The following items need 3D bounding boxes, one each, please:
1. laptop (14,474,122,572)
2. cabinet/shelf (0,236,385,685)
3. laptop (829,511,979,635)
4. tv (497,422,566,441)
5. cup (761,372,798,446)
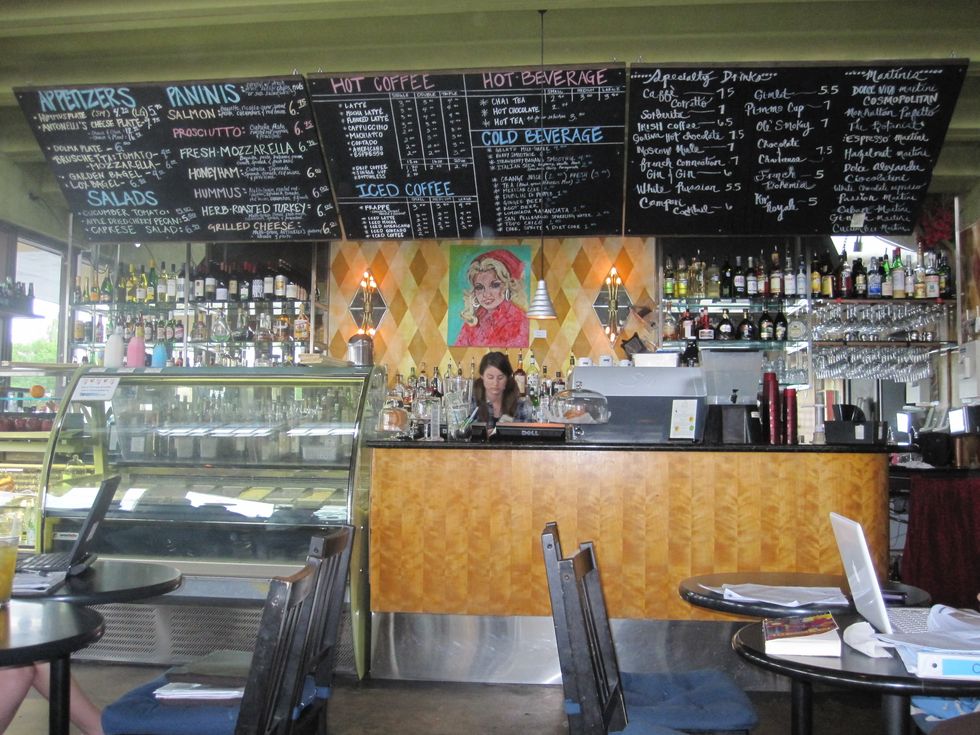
[{"bbox_3d":[-1.765,0.644,3.341,0.468,0.346,0.495,-1,-6,-22],"label":"laptop"},{"bbox_3d":[-1.421,0.371,4.944,2.110,1.994,1.605,0,1,5],"label":"cabinet/shelf"},{"bbox_3d":[1.275,0.665,2.600,0.296,0.283,0.415,-11,-15,2],"label":"laptop"},{"bbox_3d":[0.231,0.357,4.515,0.400,0.094,0.187,1,-4,0],"label":"tv"},{"bbox_3d":[1.592,0.220,4.488,0.171,0.398,0.281,0,-4,17],"label":"cup"}]
